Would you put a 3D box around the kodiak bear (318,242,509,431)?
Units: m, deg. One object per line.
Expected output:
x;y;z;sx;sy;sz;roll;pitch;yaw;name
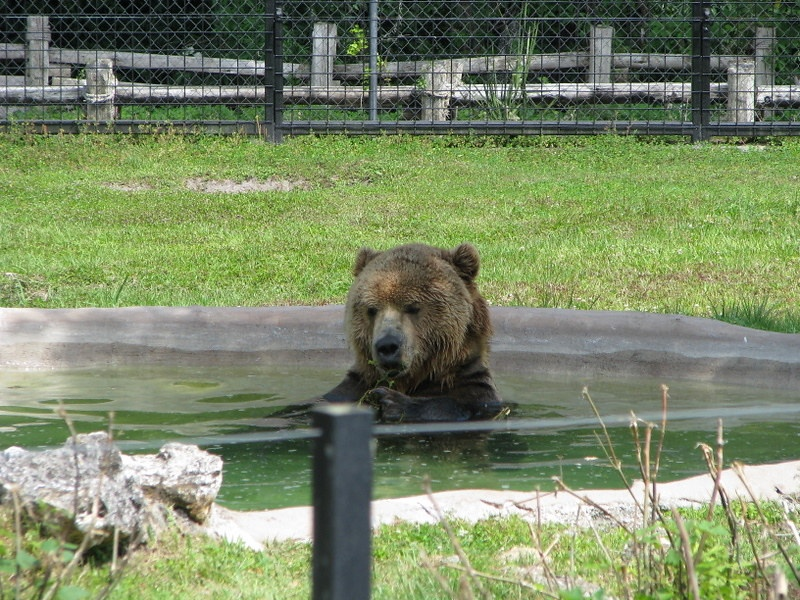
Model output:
0.088;0.268;11.074;1.551;1.313;1.617;3;-3;16;kodiak bear
